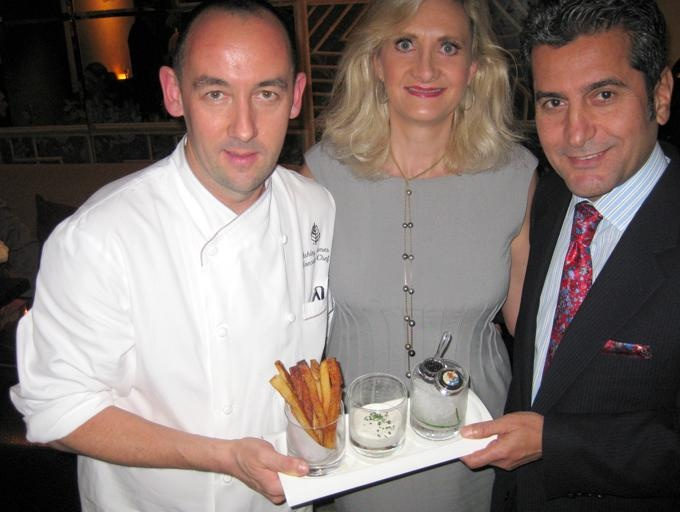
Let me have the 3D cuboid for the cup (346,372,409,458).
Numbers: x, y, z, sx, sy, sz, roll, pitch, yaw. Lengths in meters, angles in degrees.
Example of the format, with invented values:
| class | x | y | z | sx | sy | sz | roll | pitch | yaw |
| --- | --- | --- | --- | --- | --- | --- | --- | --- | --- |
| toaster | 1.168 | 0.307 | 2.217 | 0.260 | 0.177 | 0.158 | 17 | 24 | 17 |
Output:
| class | x | y | z | sx | sy | sz | roll | pitch | yaw |
| --- | --- | --- | --- | --- | --- | --- | --- | --- | --- |
| cup | 0.154 | 0.626 | 2.256 | 0.240 | 0.257 | 0.293 | -2 | 23 | 4 |

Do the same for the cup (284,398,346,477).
| class | x | y | z | sx | sy | sz | roll | pitch | yaw |
| --- | --- | --- | --- | --- | --- | --- | --- | --- | --- |
| cup | -0.097 | 0.743 | 2.183 | 0.223 | 0.267 | 0.256 | -2 | 7 | -4 |

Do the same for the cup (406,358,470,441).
| class | x | y | z | sx | sy | sz | roll | pitch | yaw |
| --- | --- | --- | --- | --- | --- | --- | --- | --- | --- |
| cup | 0.381 | 0.572 | 2.299 | 0.251 | 0.310 | 0.281 | -1 | 28 | 4 |
